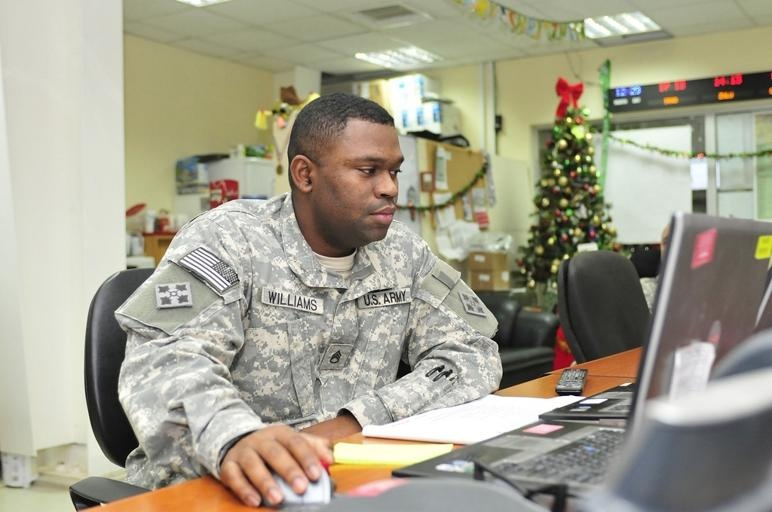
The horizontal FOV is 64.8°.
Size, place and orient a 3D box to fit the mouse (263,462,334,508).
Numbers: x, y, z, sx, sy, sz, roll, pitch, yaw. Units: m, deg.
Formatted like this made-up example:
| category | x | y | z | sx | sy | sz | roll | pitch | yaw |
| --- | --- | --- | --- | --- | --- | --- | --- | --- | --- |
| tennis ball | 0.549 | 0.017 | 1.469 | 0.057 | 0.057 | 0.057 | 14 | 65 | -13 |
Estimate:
| category | x | y | z | sx | sy | sz | roll | pitch | yaw |
| --- | --- | --- | --- | --- | --- | --- | --- | --- | --- |
| mouse | -0.135 | 0.373 | 0.972 | 0.097 | 0.045 | 0.071 | -3 | 5 | -6 |

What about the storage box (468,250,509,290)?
| category | x | y | z | sx | sy | sz | roll | pitch | yaw |
| --- | --- | --- | --- | --- | --- | --- | --- | --- | --- |
| storage box | 0.990 | 0.147 | 5.976 | 0.382 | 0.354 | 0.368 | 1 | -3 | -38 |
